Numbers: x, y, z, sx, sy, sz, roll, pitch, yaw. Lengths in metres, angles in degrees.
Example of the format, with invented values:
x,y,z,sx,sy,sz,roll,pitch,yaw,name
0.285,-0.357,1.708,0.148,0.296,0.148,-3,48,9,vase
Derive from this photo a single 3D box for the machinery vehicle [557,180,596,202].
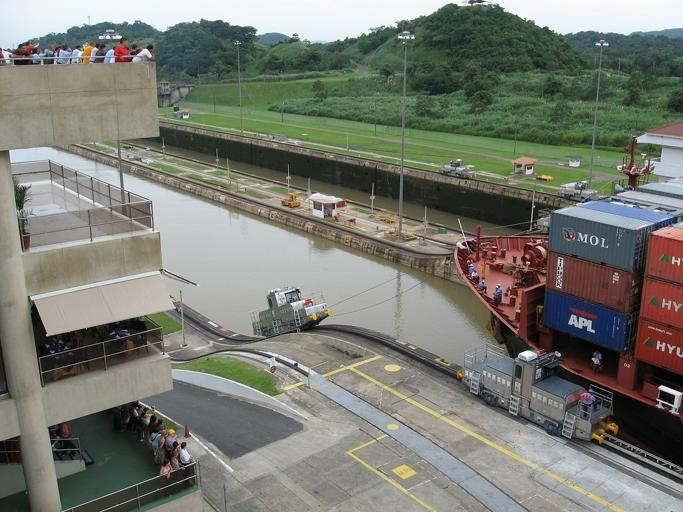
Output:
x,y,z,sx,sy,sz,roll,pitch,yaw,name
28.671,-8.195,74.423,4.146,2.120,9.241,4,15,19,machinery vehicle

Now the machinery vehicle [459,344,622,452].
x,y,z,sx,sy,sz,roll,pitch,yaw,name
11.679,7.495,36.587,4.104,4.001,9.641,-13,17,-34,machinery vehicle

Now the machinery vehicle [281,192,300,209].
x,y,z,sx,sy,sz,roll,pitch,yaw,name
-6.664,-7.604,83.806,1.934,1.745,3.282,-12,19,-36,machinery vehicle

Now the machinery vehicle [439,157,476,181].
x,y,z,sx,sy,sz,roll,pitch,yaw,name
16.278,-11.988,85.203,5.353,2.498,3.183,18,18,40,machinery vehicle

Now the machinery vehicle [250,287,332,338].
x,y,z,sx,sy,sz,roll,pitch,yaw,name
-4.531,4.468,50.439,6.446,2.947,2.917,-18,-4,37,machinery vehicle
